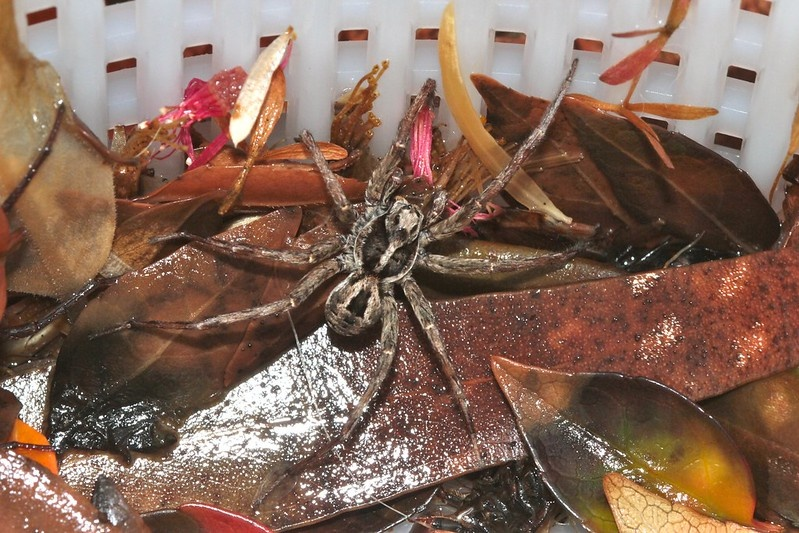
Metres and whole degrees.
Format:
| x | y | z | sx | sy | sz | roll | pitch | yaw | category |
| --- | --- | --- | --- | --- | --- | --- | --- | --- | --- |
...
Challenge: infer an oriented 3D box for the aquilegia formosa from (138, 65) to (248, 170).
| x | y | z | sx | sy | sz | roll | pitch | yaw | category |
| --- | --- | --- | --- | --- | --- | --- | --- | --- | --- |
| -0.334 | -0.268 | 1.317 | 0.141 | 0.193 | 0.065 | 40 | -4 | 7 | aquilegia formosa |
